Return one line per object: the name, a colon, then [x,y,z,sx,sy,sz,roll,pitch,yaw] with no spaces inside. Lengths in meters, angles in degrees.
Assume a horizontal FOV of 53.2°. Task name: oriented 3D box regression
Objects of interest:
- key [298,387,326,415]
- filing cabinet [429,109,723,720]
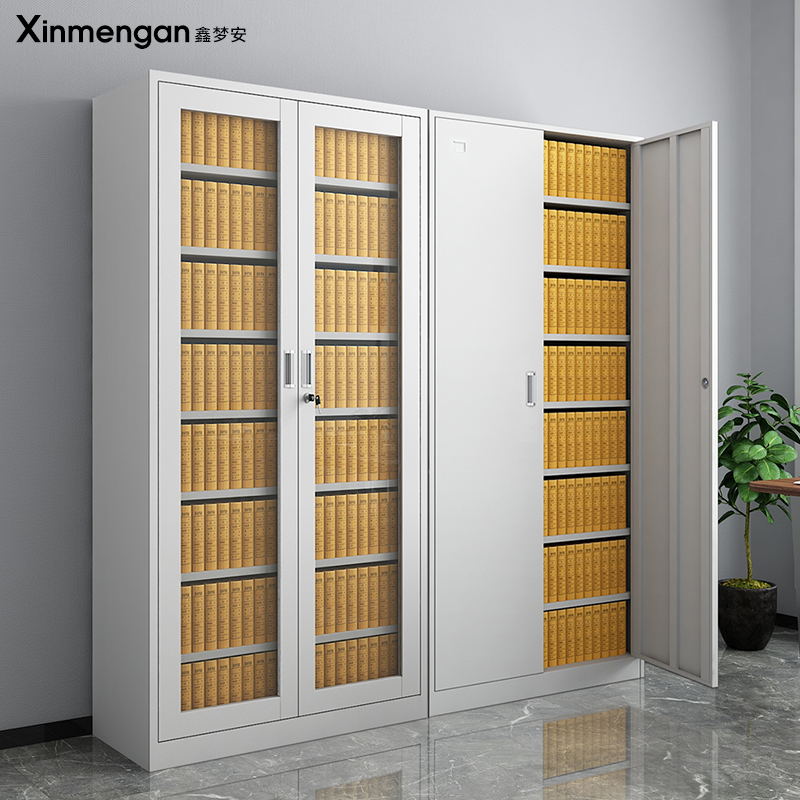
key: [-0.336,0.005,3.052,0.054,0.077,0.035,-23,4,6]
filing cabinet: [0.737,0.056,3.587,1.254,2.551,0.601,1,-2,-4]
